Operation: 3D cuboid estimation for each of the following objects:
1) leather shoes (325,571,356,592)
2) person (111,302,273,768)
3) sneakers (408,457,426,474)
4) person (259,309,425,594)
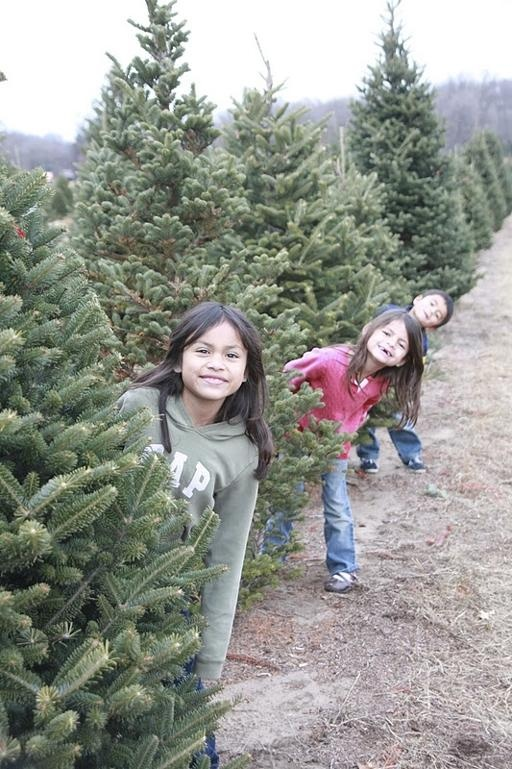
[{"bbox_3d":[0.468,1.084,3.867,0.084,0.066,0.164,-2,-17,44],"label":"leather shoes"},{"bbox_3d":[-0.188,0.313,2.218,0.477,1.140,0.495,-1,9,0],"label":"person"},{"bbox_3d":[1.477,0.725,6.386,0.105,0.077,0.163,2,-8,-4],"label":"sneakers"},{"bbox_3d":[0.559,0.374,3.875,0.576,1.555,1.258,6,11,36],"label":"person"}]
